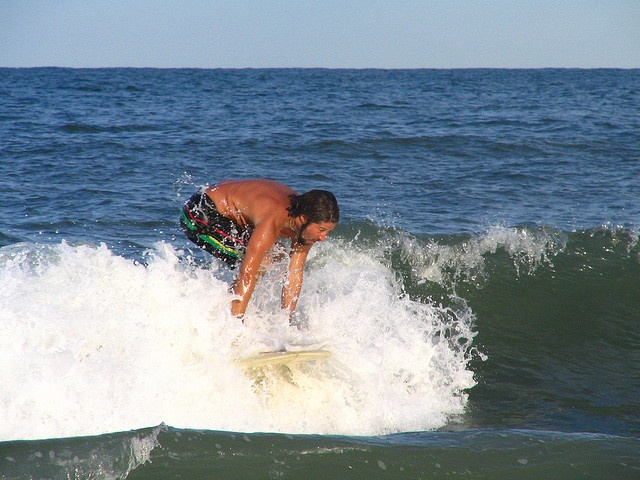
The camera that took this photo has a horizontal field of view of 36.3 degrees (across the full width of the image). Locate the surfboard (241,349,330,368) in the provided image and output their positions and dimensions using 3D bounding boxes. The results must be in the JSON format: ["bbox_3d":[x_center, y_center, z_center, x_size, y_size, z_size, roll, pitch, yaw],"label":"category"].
[{"bbox_3d":[-0.417,1.431,11.692,1.072,0.221,0.222,6,-2,-24],"label":"surfboard"}]
